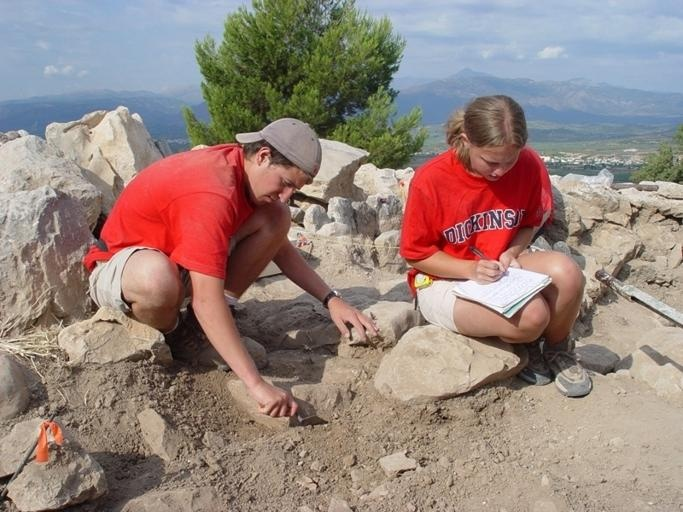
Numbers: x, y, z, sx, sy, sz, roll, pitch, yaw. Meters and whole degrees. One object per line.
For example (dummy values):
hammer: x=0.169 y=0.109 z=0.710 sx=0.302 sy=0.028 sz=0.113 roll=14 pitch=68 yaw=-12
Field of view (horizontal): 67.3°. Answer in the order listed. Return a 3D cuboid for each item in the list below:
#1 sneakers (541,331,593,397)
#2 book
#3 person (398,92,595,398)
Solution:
sneakers: x=1.346 y=0.643 z=2.988 sx=0.247 sy=0.203 sz=0.312 roll=-8 pitch=31 yaw=-8
book: x=0.879 y=0.183 z=2.820 sx=0.337 sy=0.083 sz=0.311 roll=-32 pitch=34 yaw=-30
person: x=0.952 y=-0.160 z=3.047 sx=0.889 sy=1.612 sz=1.041 roll=-29 pitch=39 yaw=-25
